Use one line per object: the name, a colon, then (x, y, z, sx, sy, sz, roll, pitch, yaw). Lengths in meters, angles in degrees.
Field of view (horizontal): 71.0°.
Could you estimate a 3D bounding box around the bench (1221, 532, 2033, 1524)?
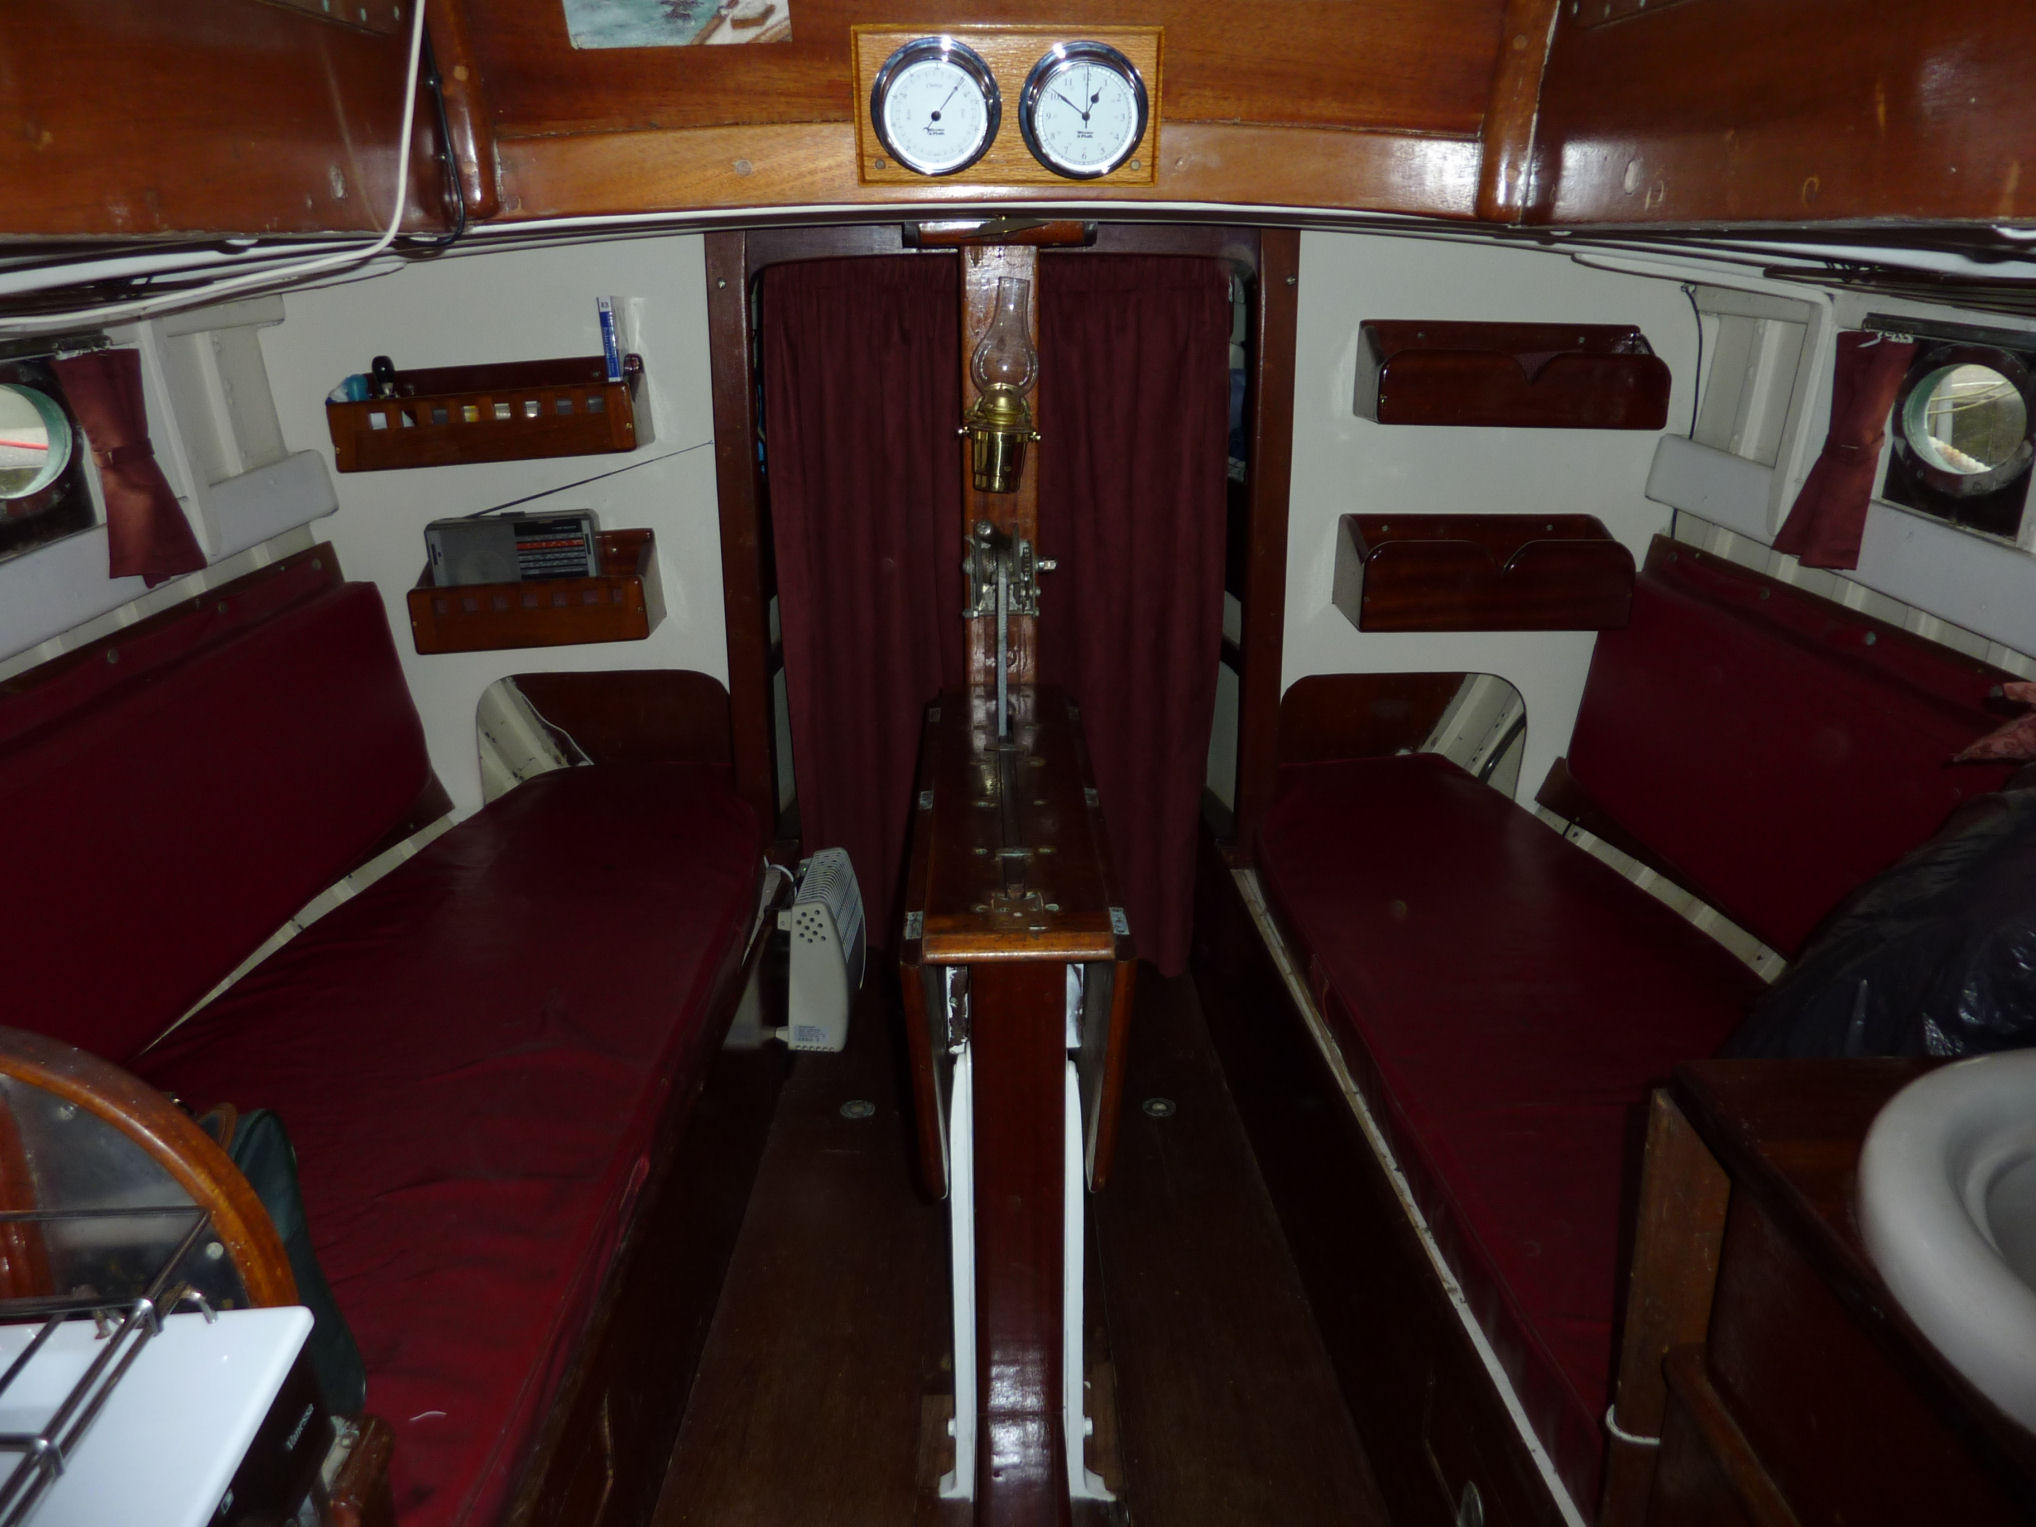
bench: (1.227, 0.514, 2.941, 0.723, 1.973, 1.241, 3, -59, 0)
